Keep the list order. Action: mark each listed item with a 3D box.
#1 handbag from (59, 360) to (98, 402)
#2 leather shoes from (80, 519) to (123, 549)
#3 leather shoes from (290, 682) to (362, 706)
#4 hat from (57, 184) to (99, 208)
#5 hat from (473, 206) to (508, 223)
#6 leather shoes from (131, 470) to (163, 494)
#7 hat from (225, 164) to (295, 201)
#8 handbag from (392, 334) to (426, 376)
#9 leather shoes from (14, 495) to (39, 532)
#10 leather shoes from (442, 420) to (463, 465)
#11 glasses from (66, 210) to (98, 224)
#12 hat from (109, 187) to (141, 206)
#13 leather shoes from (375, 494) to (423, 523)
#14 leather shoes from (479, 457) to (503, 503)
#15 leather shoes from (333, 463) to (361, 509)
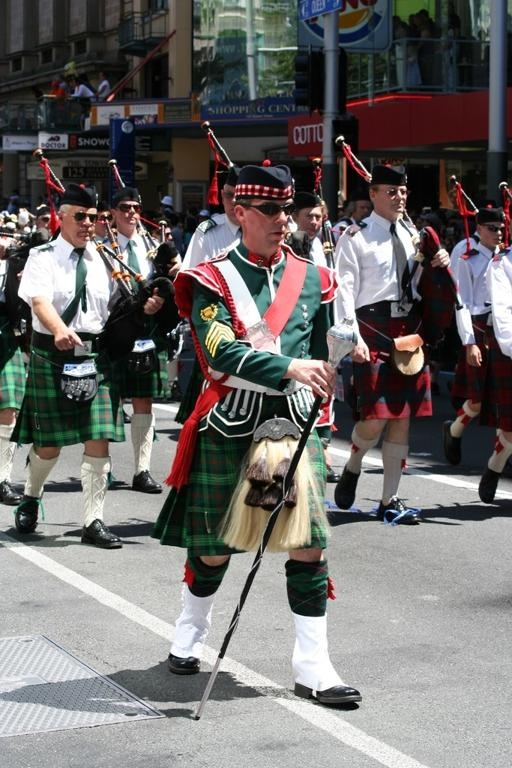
[{"bbox_3d":[-0.946,-0.016,4.981,0.257,0.282,0.074,1,-6,-16],"label":"handbag"},{"bbox_3d":[-0.817,0.804,5.066,0.264,0.103,0.106,-2,-4,44],"label":"leather shoes"},{"bbox_3d":[0.202,0.874,2.741,0.191,0.062,0.076,-4,-10,35],"label":"leather shoes"},{"bbox_3d":[-0.930,-0.973,4.944,0.133,0.075,0.174,2,7,-23],"label":"hat"},{"bbox_3d":[1.701,-1.227,6.912,0.128,0.086,0.155,-1,5,-4],"label":"hat"},{"bbox_3d":[-0.756,0.682,6.560,0.101,0.110,0.262,4,-3,-42],"label":"leather shoes"},{"bbox_3d":[0.023,-0.580,2.754,0.164,0.132,0.212,1,2,0],"label":"hat"},{"bbox_3d":[0.871,-0.165,5.443,0.265,0.249,0.081,-5,4,-30],"label":"handbag"},{"bbox_3d":[-1.252,0.728,5.285,0.100,0.110,0.249,19,23,-31],"label":"leather shoes"},{"bbox_3d":[1.514,0.454,7.211,0.157,0.336,0.164,-13,12,-36],"label":"leather shoes"},{"bbox_3d":[-0.916,-0.865,4.930,0.091,0.031,0.089,0,1,-40],"label":"glasses"},{"bbox_3d":[-0.919,-1.332,6.685,0.145,0.128,0.189,0,-9,-41],"label":"hat"},{"bbox_3d":[0.841,0.752,5.678,0.147,0.093,0.237,1,-4,-31],"label":"leather shoes"},{"bbox_3d":[1.502,0.618,6.101,0.127,0.318,0.139,11,17,5],"label":"leather shoes"},{"bbox_3d":[0.570,0.634,5.905,0.120,0.293,0.135,2,-3,-6],"label":"leather shoes"}]
